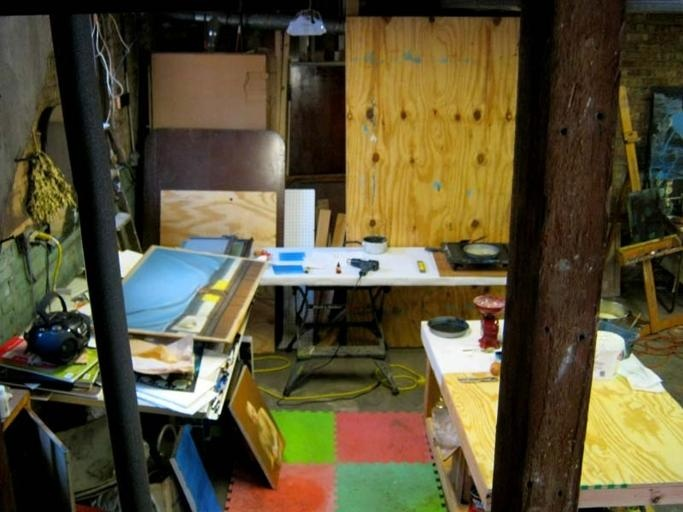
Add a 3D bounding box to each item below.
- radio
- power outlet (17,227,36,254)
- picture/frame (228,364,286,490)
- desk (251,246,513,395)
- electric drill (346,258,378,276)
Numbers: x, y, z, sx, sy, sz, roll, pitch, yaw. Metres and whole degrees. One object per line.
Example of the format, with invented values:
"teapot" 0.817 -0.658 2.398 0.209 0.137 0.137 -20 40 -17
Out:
"radio" -1.545 0.387 3.269 0.247 0.400 0.411 4 16 1
"power outlet" -1.901 -0.088 3.594 0.035 0.122 0.085 8 9 29
"picture/frame" -0.550 1.120 3.936 0.301 0.695 0.485 1 16 -9
"desk" 0.133 0.353 5.914 2.490 1.174 1.259 3 17 -5
"electric drill" 0.210 0.083 5.007 0.247 0.092 0.351 1 12 -8
